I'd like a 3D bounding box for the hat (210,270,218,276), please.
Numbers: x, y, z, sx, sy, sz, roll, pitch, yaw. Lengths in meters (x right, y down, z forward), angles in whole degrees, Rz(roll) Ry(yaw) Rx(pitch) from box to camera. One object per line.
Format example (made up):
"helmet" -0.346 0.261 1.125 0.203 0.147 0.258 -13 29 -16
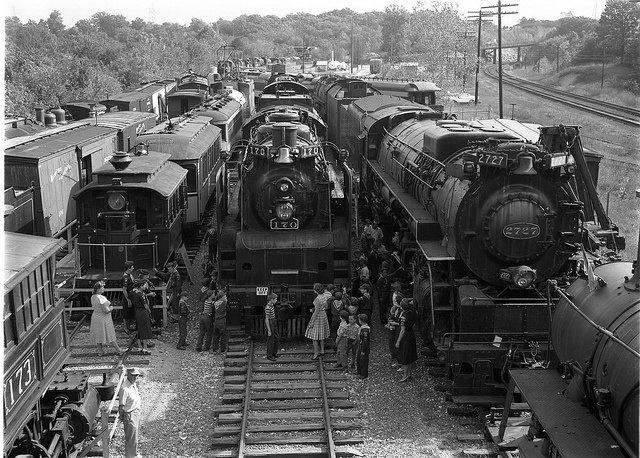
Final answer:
"hat" -3.483 1.436 17.138 0.209 0.143 0.438 -4 14 -14

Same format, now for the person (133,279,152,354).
"person" -5.193 2.609 15.180 0.489 1.902 0.748 -5 14 -21

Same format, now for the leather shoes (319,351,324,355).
"leather shoes" 0.046 3.548 14.959 0.124 0.132 0.072 -2 21 -7

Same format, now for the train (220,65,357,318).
"train" -1.050 -1.800 20.138 3.174 4.828 11.170 -1 20 0

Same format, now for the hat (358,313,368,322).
"hat" 1.163 2.357 13.915 0.168 0.202 0.232 5 -18 -22

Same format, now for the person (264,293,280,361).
"person" -1.362 2.725 14.623 0.351 1.809 0.499 -2 13 -7

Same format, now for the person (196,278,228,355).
"person" -3.174 2.528 15.310 0.958 2.106 0.702 3 13 13

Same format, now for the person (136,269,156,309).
"person" -5.272 1.852 15.756 0.440 1.203 0.392 -7 52 -12
